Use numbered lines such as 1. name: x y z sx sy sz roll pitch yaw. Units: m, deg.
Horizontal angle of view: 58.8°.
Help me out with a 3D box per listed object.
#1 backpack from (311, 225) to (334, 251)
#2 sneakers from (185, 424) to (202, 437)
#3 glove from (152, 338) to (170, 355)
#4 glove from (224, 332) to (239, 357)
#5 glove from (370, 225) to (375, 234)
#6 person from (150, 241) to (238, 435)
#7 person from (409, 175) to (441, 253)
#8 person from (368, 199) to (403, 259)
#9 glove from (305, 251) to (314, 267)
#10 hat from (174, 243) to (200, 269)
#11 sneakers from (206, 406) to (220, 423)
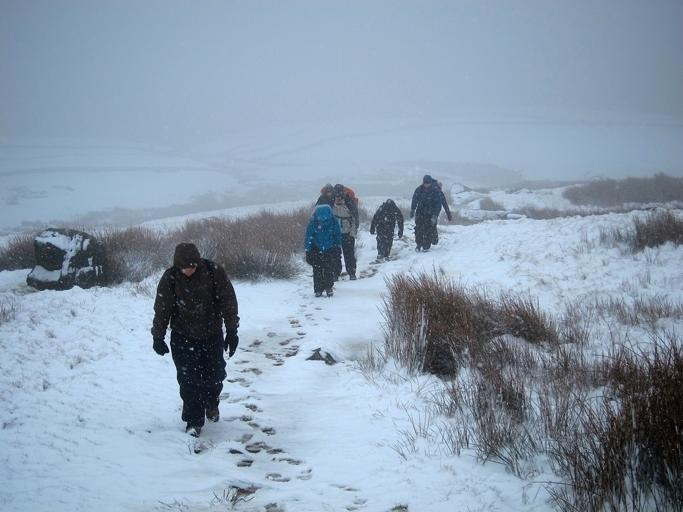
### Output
1. backpack: -0.321 -0.281 10.843 0.419 0.693 0.338 0 1 -6
2. sneakers: -1.623 1.922 6.654 0.116 0.054 0.127 -15 -46 37
3. glove: -1.945 0.993 6.578 0.143 0.237 0.062 -16 16 -3
4. glove: -1.193 0.973 6.768 0.184 0.314 0.079 0 0 33
5. glove: 0.711 -0.597 13.821 0.114 0.207 0.061 -2 -1 3
6. person: -1.595 0.909 6.627 0.906 2.110 0.273 -2 6 -22
7. person: 1.950 -0.994 14.182 0.549 1.764 0.767 -4 7 -36
8. person: 1.117 -0.655 14.752 0.726 1.437 2.219 1 6 5
9. glove: -0.570 0.038 10.979 0.152 0.265 0.066 0 18 6
10. hat: -1.649 0.000 6.457 0.192 0.288 0.297 1 -5 -10
11. sneakers: -1.450 1.806 6.858 0.145 0.189 0.164 -1 -9 -4
